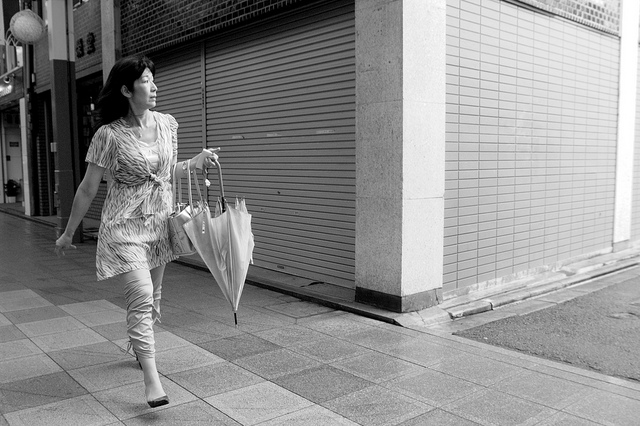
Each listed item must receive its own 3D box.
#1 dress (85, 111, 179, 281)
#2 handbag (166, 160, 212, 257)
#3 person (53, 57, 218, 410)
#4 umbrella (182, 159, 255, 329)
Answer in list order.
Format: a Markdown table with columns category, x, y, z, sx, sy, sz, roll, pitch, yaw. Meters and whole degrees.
| category | x | y | z | sx | sy | sz | roll | pitch | yaw |
| --- | --- | --- | --- | --- | --- | --- | --- | --- | --- |
| dress | -1.615 | -0.170 | 3.945 | 0.742 | 1.436 | 0.471 | -5 | 10 | -31 |
| handbag | -1.269 | -0.029 | 4.202 | 0.316 | 0.872 | 0.418 | -2 | 5 | 26 |
| person | -1.579 | 0.093 | 4.207 | 1.040 | 2.959 | 1.368 | 2 | 9 | 13 |
| umbrella | -0.861 | 0.270 | 4.003 | 0.548 | 1.493 | 0.403 | 5 | 10 | 28 |
